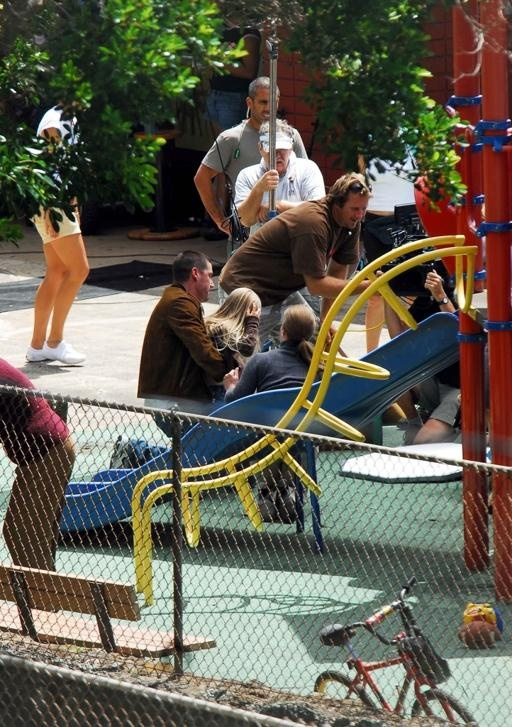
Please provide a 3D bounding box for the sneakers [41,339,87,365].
[{"bbox_3d":[-1.742,-0.093,8.160,0.486,0.182,0.172,3,5,23],"label":"sneakers"}]

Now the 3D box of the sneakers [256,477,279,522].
[{"bbox_3d":[0.057,0.755,5.070,0.181,0.266,0.096,-3,-1,-26],"label":"sneakers"}]

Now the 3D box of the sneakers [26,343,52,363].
[{"bbox_3d":[-2.009,-0.070,8.183,0.104,0.105,0.264,1,4,5],"label":"sneakers"}]

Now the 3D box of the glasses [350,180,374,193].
[{"bbox_3d":[0.660,-1.059,5.379,0.122,0.062,0.163,-7,13,-24],"label":"glasses"}]

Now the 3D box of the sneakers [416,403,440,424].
[{"bbox_3d":[1.181,0.360,6.261,0.123,0.141,0.206,-11,-1,-14],"label":"sneakers"}]

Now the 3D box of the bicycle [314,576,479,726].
[{"bbox_3d":[0.520,0.976,2.941,0.625,0.389,0.329,-22,6,44],"label":"bicycle"}]
